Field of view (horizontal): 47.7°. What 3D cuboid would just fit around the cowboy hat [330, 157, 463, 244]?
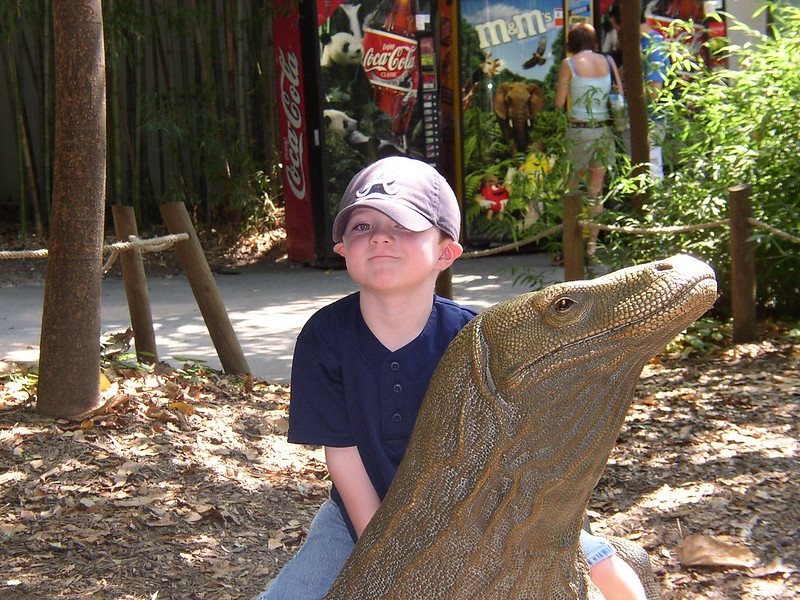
[{"bbox_3d":[-0.012,-0.309,2.950,0.410,0.283,0.195,2,12,-1],"label":"cowboy hat"}]

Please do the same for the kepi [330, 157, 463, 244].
[{"bbox_3d":[-0.012,-0.309,2.950,0.410,0.283,0.195,2,12,-1],"label":"kepi"}]

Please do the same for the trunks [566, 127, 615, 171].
[{"bbox_3d":[1.531,-1.233,7.336,0.480,0.249,0.833,0,7,6],"label":"trunks"}]

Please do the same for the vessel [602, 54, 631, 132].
[{"bbox_3d":[1.928,-1.804,8.120,0.150,0.330,1.300,-13,-18,15],"label":"vessel"}]
